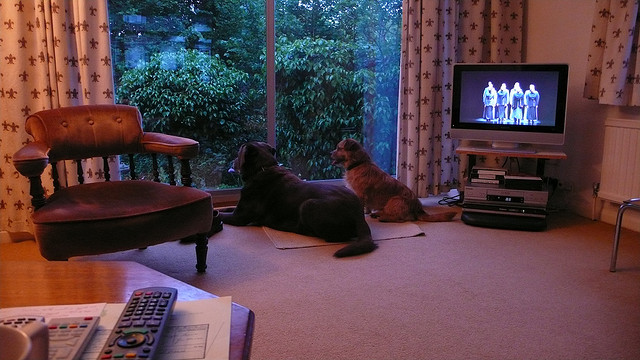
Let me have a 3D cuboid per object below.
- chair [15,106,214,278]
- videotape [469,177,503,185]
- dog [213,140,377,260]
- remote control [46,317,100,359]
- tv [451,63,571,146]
[{"bbox_3d":[-1.583,0.082,3.429,1.460,1.022,1.269,3,21,-11],"label":"chair"},{"bbox_3d":[1.664,0.010,4.477,0.304,0.052,0.039,3,14,15],"label":"videotape"},{"bbox_3d":[-0.177,0.109,4.168,1.486,0.585,0.966,9,9,24],"label":"dog"},{"bbox_3d":[-1.064,0.681,1.922,0.191,0.124,0.154,-4,13,-15],"label":"remote control"},{"bbox_3d":[1.925,-0.790,4.528,0.998,0.608,0.094,3,5,8],"label":"tv"}]
